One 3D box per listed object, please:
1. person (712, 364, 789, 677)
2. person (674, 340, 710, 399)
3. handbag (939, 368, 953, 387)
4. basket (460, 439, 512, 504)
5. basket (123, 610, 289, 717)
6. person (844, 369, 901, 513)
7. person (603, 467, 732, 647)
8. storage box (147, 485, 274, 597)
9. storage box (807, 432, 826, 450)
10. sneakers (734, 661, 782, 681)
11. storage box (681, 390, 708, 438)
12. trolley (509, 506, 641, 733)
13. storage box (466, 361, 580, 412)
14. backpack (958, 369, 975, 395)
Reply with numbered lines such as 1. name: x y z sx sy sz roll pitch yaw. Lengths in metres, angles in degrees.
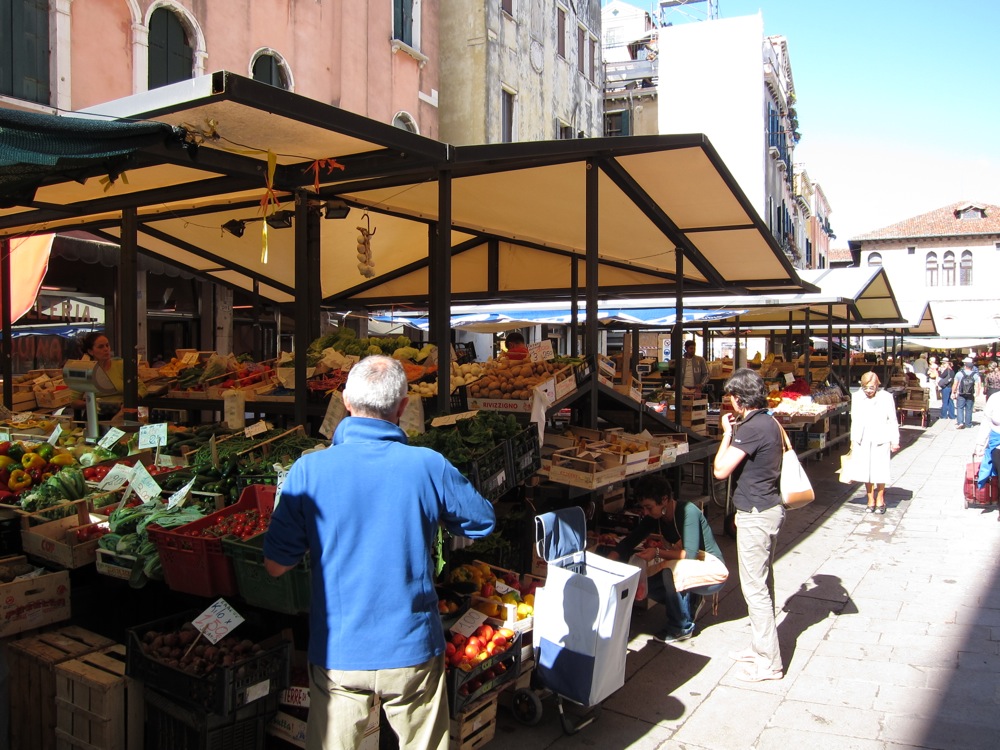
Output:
1. person: 2.057 1.221 7.175 0.526 2.512 0.455 -1 1 19
2. person: 3.457 0.039 15.857 0.519 1.312 0.407 3 18 25
3. handbag: 14.665 0.130 28.651 0.344 0.576 0.663 0 2 23
4. basket: -0.080 0.743 6.538 0.248 0.182 0.475 -4 12 21
5. basket: -1.930 1.769 5.656 0.793 0.287 0.565 9 4 31
6. person: 5.276 0.964 12.451 0.741 1.997 1.267 0 1 23
7. person: 1.462 1.702 8.050 1.126 1.481 0.931 -1 -9 10
8. storage box: -1.949 1.142 5.951 0.508 0.424 0.890 2 4 16
9. storage box: 5.921 1.252 16.294 0.273 0.184 0.269 -2 -1 -20
10. sneakers: 2.092 2.439 7.110 0.258 0.120 0.161 -4 -1 11
11. storage box: 2.529 0.516 11.433 0.305 0.562 0.641 -1 1 11
12. trolley: 0.636 1.835 6.516 0.661 1.545 0.620 7 7 31
13. storage box: 0.175 0.099 8.024 0.603 0.203 0.641 -4 17 24
14. backpack: 13.270 0.272 24.867 0.389 0.820 0.510 -1 1 22
